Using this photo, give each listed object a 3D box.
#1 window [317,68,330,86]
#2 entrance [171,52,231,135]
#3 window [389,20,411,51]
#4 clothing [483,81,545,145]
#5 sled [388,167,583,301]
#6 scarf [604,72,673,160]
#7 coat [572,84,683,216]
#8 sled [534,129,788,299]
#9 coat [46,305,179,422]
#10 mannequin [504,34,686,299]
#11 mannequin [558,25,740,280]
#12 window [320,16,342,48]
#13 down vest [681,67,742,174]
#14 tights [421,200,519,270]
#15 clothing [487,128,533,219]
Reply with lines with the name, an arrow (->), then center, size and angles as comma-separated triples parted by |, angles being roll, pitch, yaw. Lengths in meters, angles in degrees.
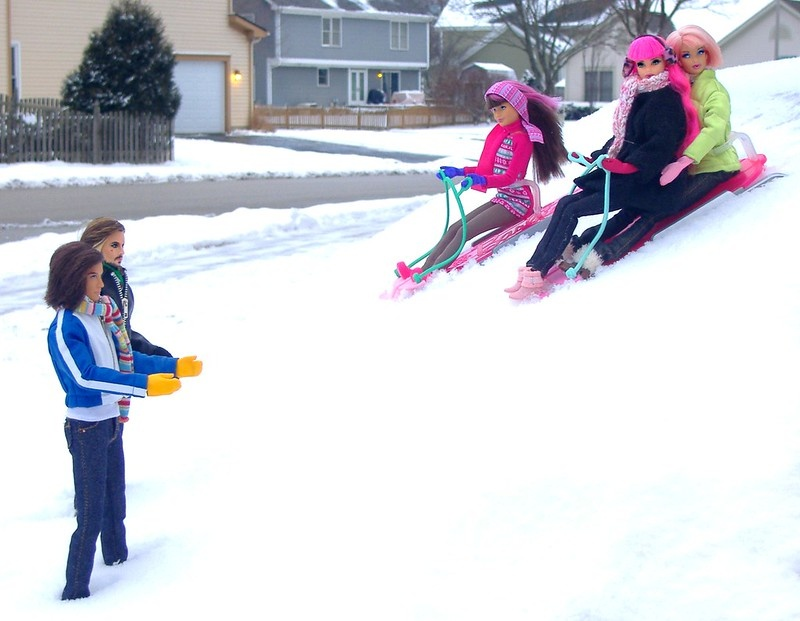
window -> -3.911, -12.077, 43.615 | 0.822, 1.266, 0.102 | -2, 2, -15
entrance -> -6.807, -7.503, 29.450 | 1.914, 2.591, 0.385 | -9, 16, -39
window -> -0.025, -14.703, 45.084 | 1.426, 2.090, 0.228 | -2, 9, -22
clothing -> 1.047, -1.705, 7.274 | 0.550, 0.509, 0.391 | 11, -1, -29
sled -> 0.711, -0.836, 7.642 | 1.995, 0.820, 0.632 | -23, -11, 8
scarf -> 1.661, -1.406, 6.081 | 0.421, 0.605, 0.205 | 13, 13, 26
coat -> 1.720, -1.347, 6.176 | 0.648, 1.038, 0.684 | 6, 14, -13
sled -> 1.872, -0.895, 6.339 | 1.715, 0.412, 1.081 | -35, 11, 6
coat -> -1.433, 0.248, 4.367 | 0.682, 0.628, 0.618 | 6, 5, 19
mannequin -> 1.550, -1.048, 6.268 | 1.225, 2.000, 0.896 | 4, 7, -7
mannequin -> 1.540, -1.289, 6.462 | 0.845, 1.492, 1.227 | 4, 10, -37
window -> -3.486, -14.116, 42.768 | 1.381, 1.621, 0.163 | -9, 13, -43
down vest -> 2.250, -1.365, 6.145 | 0.377, 0.753, 0.772 | 9, 15, 30
tights -> 0.649, -0.660, 7.614 | 0.886, 0.221, 0.226 | -42, 29, -7
clothing -> 0.989, -1.254, 7.477 | 0.408, 0.793, 0.378 | 12, 27, 16
